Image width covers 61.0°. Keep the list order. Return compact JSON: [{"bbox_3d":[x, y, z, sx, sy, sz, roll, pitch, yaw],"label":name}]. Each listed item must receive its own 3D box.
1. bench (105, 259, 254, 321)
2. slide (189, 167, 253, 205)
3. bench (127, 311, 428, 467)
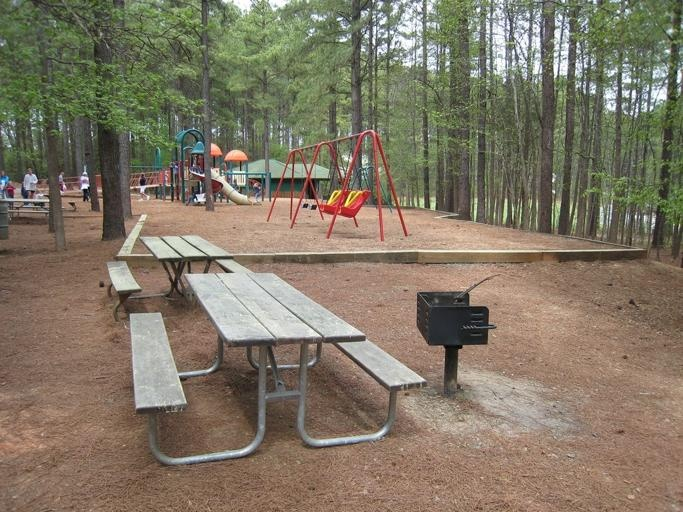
[{"bbox_3d":[-2.205,0.313,7.162,1.081,0.217,1.080,-3,15,-23],"label":"bench"},{"bbox_3d":[-5.033,-2.973,25.070,0.981,2.028,3.311,-1,5,36],"label":"slide"},{"bbox_3d":[-0.872,1.118,5.094,2.469,0.902,1.486,0,11,2],"label":"bench"}]
